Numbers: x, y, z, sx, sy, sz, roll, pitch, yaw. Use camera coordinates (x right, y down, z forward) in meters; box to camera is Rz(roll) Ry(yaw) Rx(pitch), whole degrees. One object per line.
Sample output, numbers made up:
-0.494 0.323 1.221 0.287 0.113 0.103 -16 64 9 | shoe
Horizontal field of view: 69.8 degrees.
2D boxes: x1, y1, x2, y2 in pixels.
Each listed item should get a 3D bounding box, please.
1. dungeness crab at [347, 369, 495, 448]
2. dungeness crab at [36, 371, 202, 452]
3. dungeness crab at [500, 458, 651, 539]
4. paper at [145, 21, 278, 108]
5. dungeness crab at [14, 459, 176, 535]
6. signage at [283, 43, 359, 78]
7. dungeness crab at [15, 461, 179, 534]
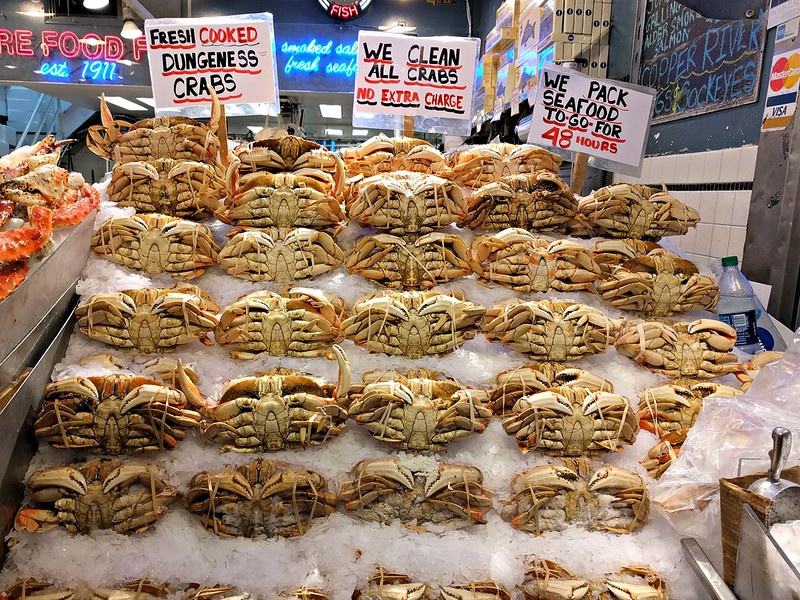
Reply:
0.086 0.559 2.896 0.699 0.411 0.231 2 -1 -2 | dungeness crab
-1.414 0.564 2.782 0.622 0.406 0.226 2 31 -2 | dungeness crab
0.888 0.984 2.842 0.626 0.353 0.213 3 -17 -1 | dungeness crab
-1.213 -1.519 3.677 0.597 0.466 0.090 -2 21 3 | paper
-1.482 0.935 2.764 0.652 0.244 0.371 7 -31 -36 | dungeness crab
-1.398 -4.155 9.826 1.677 0.850 0.023 14 23 25 | signage
-1.434 0.929 2.710 0.586 0.346 0.206 -1 27 -7 | dungeness crab
